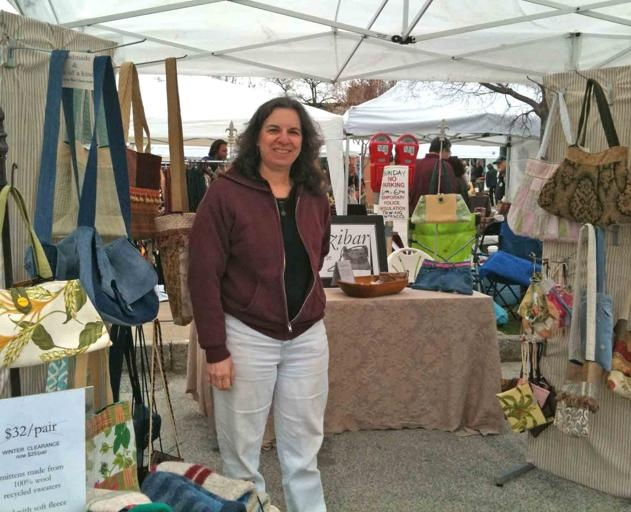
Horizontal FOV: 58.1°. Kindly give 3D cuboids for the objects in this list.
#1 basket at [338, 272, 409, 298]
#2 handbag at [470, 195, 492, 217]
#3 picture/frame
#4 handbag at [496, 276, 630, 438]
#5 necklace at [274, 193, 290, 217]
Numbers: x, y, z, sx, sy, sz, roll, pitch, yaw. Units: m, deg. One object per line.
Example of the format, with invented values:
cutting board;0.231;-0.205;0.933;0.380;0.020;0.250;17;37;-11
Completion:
basket;0.407;0.198;3.827;0.352;0.117;0.201;-2;1;-39
handbag;2.434;-0.756;8.347;0.339;0.289;0.358;0;4;1
picture/frame;0.246;-0.020;3.865;0.429;0.445;0.160;-1;-16;-5
handbag;1.246;0.565;2.986;0.620;0.879;0.305;5;7;28
necklace;-0.150;-0.216;2.470;0.064;0.099;0.023;1;-9;-15
